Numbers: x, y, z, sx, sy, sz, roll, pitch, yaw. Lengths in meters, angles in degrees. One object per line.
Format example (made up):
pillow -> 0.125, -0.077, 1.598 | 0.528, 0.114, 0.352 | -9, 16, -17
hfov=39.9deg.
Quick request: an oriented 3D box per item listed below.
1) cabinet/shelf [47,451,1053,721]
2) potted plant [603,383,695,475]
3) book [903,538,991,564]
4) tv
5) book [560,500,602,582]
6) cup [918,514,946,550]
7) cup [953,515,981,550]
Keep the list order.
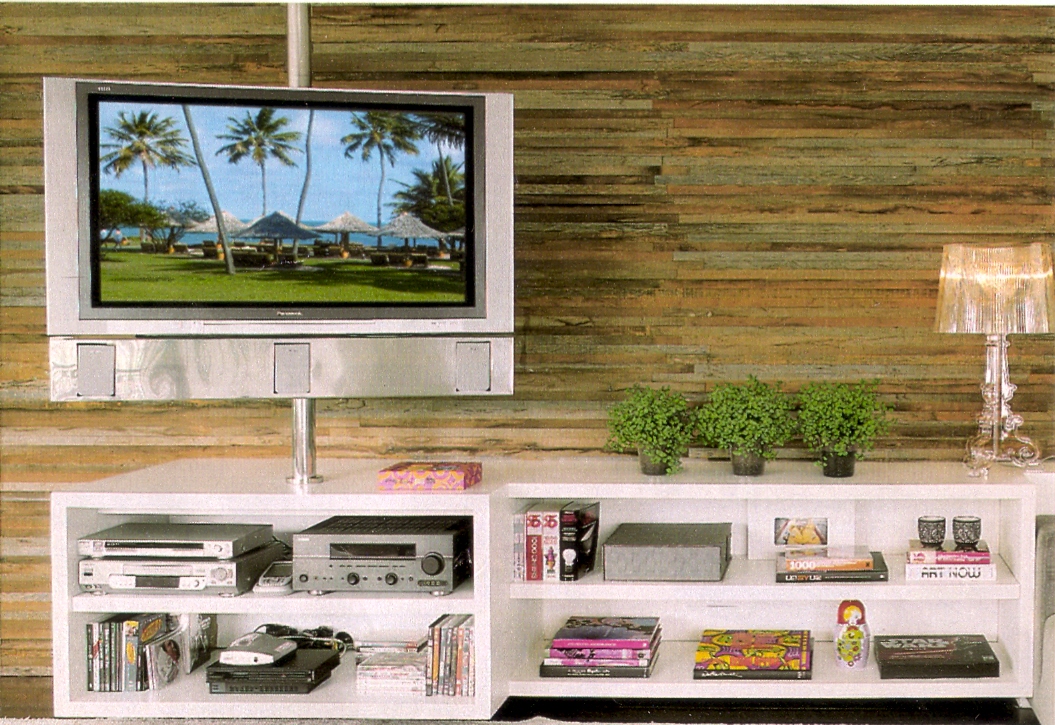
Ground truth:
cabinet/shelf -> 0.149, 0.803, 5.369 | 3.599, 0.882, 0.566 | -2, 3, -1
potted plant -> 0.461, 0.231, 5.342 | 0.476, 0.322, 0.335 | -1, 3, -5
book -> 1.540, 0.685, 5.307 | 0.288, 0.062, 0.217 | -1, 3, 10
tv -> -0.937, -0.444, 5.245 | 1.715, 0.813, 0.139 | 0, -2, -3
book -> 0.193, 0.651, 5.315 | 0.121, 0.239, 0.322 | 0, 6, 18
cup -> 1.457, 0.631, 5.334 | 0.139, 0.108, 0.115 | 0, -5, 3
cup -> 1.598, 0.614, 5.267 | 0.140, 0.108, 0.116 | 0, -4, 5
